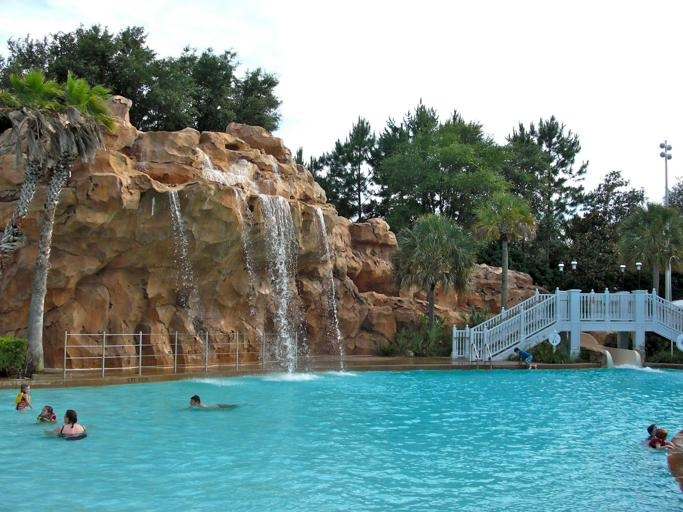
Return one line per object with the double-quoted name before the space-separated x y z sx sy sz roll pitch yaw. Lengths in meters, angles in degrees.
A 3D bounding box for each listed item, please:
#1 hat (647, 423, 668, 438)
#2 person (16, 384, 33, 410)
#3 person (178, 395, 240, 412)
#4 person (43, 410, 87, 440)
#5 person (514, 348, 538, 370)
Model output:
"hat" 7.263 3.986 13.397 0.422 0.406 0.352 -10 -11 12
"person" -8.587 3.834 15.825 0.326 0.914 0.465 -7 15 -37
"person" -3.658 4.198 16.339 1.569 0.612 0.575 7 -11 -8
"person" -6.087 3.806 13.050 0.569 0.574 0.773 3 -1 -25
"person" 8.642 4.766 27.249 0.905 0.943 1.949 -3 -8 17
